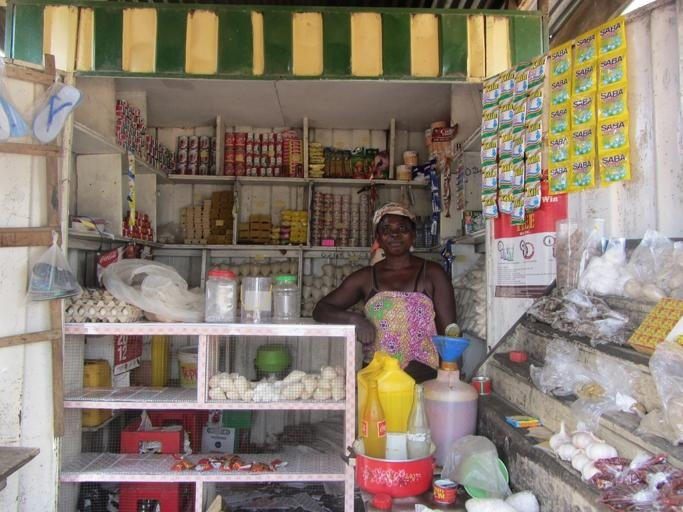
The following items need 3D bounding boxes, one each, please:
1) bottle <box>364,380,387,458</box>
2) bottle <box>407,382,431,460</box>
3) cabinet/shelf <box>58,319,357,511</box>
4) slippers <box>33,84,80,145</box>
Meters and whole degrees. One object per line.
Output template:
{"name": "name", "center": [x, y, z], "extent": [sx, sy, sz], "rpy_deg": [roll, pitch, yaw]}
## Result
{"name": "bottle", "center": [0.142, 0.705, 2.462], "extent": [0.099, 0.323, 0.074], "rpy_deg": [-1, -1, 4]}
{"name": "bottle", "center": [0.341, 0.703, 2.449], "extent": [0.091, 0.303, 0.223], "rpy_deg": [-1, -1, 26]}
{"name": "cabinet/shelf", "center": [-0.778, 0.920, 3.224], "extent": [1.137, 0.869, 0.372], "rpy_deg": [1, -1, -3]}
{"name": "slippers", "center": [-1.411, -0.708, 2.797], "extent": [0.159, 0.330, 0.116], "rpy_deg": [40, -22, -25]}
